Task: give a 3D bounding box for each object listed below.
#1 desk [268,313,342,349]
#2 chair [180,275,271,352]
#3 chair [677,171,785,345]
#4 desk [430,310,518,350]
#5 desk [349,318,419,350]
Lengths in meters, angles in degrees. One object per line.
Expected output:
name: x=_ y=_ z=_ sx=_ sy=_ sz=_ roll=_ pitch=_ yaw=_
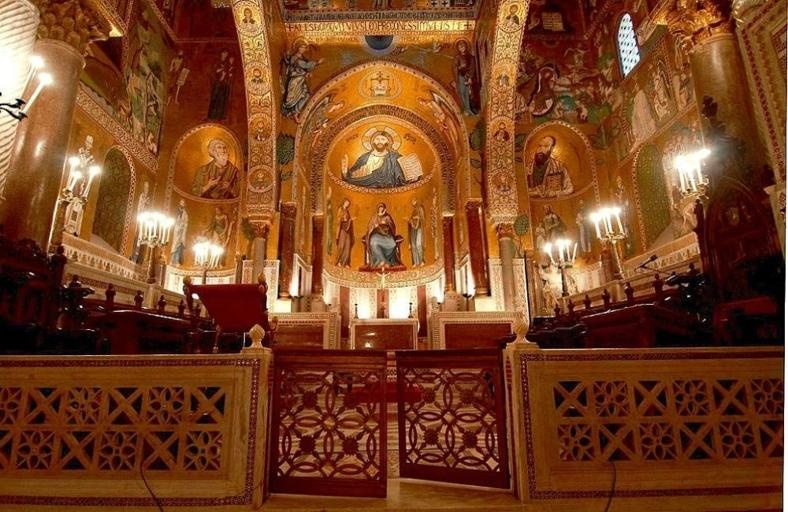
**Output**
desk: x=-2.145 y=1.804 z=13.040 sx=1.501 sy=1.004 sz=0.879 roll=1 pitch=-5 yaw=-8
chair: x=-2.185 y=1.010 z=7.532 sx=0.944 sy=1.413 sz=1.017 roll=-3 pitch=-58 yaw=-12
chair: x=4.787 y=0.041 z=7.826 sx=0.923 sy=2.454 sz=1.029 roll=11 pitch=-20 yaw=-37
desk: x=1.859 y=1.665 z=13.203 sx=1.860 sy=0.959 sz=1.308 roll=0 pitch=7 yaw=-6
desk: x=-0.290 y=2.224 z=14.523 sx=1.846 sy=0.892 sz=1.020 roll=-1 pitch=-24 yaw=-5
